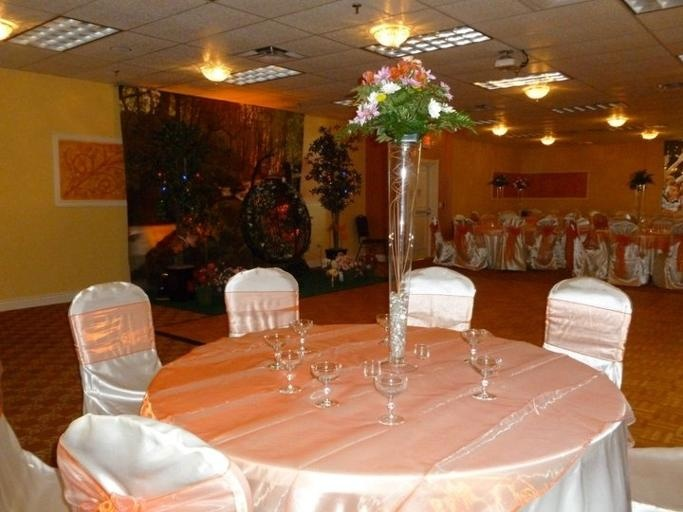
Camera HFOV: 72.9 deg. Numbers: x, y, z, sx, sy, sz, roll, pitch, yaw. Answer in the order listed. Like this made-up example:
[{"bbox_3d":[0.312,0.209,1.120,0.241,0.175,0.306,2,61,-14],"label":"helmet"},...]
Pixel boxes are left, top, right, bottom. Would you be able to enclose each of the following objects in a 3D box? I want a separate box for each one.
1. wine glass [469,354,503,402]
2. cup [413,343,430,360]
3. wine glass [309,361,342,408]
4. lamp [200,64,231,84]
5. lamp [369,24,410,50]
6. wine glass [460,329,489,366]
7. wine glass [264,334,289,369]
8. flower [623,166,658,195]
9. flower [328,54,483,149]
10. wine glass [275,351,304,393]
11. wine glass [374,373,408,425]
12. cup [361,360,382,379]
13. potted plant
[{"bbox_3d":[0.538,0.466,1.746,0.121,0.141,0.117,18,-24,-34],"label":"wine glass"},{"bbox_3d":[0.373,0.449,2.160,0.063,0.042,0.057,-3,7,1],"label":"cup"},{"bbox_3d":[-0.058,0.470,1.698,0.151,0.157,0.142,1,-2,-2],"label":"wine glass"},{"bbox_3d":[-1.661,-2.441,6.103,0.362,0.166,0.258,-1,10,-15],"label":"lamp"},{"bbox_3d":[0.494,-2.279,4.728,0.379,0.162,0.185,1,10,1],"label":"lamp"},{"bbox_3d":[0.596,0.408,2.149,0.175,0.158,0.164,-2,6,-3],"label":"wine glass"},{"bbox_3d":[-0.282,0.416,2.008,0.144,0.165,0.133,1,-1,-1],"label":"wine glass"},{"bbox_3d":[9.138,-2.321,14.056,0.846,0.754,0.793,-4,6,-12],"label":"flower"},{"bbox_3d":[0.299,-0.654,2.009,0.499,0.266,0.466,-11,21,-24],"label":"flower"},{"bbox_3d":[-0.197,0.466,1.835,0.131,0.187,0.127,1,-1,-3],"label":"wine glass"},{"bbox_3d":[0.159,0.475,1.538,0.150,0.159,0.144,0,-2,0],"label":"wine glass"},{"bbox_3d":[0.127,0.443,1.793,0.084,0.057,0.081,-3,5,0],"label":"cup"},{"bbox_3d":[-0.175,-1.394,9.497,1.151,2.661,1.851,0,10,-4],"label":"potted plant"}]
